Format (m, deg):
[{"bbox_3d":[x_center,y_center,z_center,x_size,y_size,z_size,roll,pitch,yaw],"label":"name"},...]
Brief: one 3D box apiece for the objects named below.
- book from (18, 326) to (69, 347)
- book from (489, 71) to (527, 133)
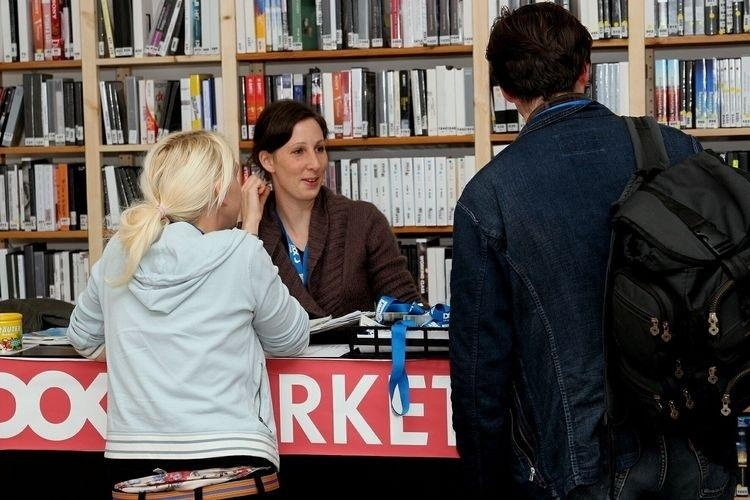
[{"bbox_3d":[-1.330,0.359,5.287,0.177,0.039,0.280,-8,7,-16],"label":"book"},{"bbox_3d":[0.638,-0.811,6.629,0.237,0.381,0.346,-2,10,2],"label":"book"}]
